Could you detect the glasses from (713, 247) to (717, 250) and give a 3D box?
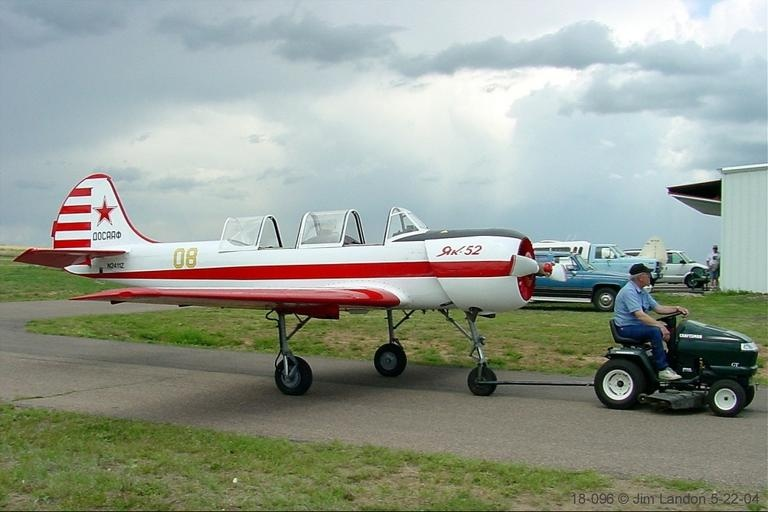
[{"bbox_3d":[13.066,-0.311,24.249,0.045,0.103,0.135,10,-11,-13],"label":"glasses"}]

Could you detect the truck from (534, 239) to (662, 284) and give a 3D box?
[{"bbox_3d":[7.385,0.246,21.706,5.671,1.462,2.812,0,2,21],"label":"truck"}]

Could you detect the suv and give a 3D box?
[{"bbox_3d":[6.915,0.871,21.598,4.735,1.386,2.372,0,2,13],"label":"suv"}]

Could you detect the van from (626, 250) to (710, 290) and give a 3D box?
[{"bbox_3d":[15.839,0.485,34.324,4.293,1.368,1.932,8,13,23],"label":"van"}]

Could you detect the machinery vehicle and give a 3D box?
[{"bbox_3d":[4.772,1.691,9.799,1.703,1.079,2.336,-4,-4,-31],"label":"machinery vehicle"}]

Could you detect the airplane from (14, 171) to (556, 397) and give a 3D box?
[{"bbox_3d":[-3.761,0.241,12.383,11.288,4.110,6.218,3,4,39],"label":"airplane"}]
